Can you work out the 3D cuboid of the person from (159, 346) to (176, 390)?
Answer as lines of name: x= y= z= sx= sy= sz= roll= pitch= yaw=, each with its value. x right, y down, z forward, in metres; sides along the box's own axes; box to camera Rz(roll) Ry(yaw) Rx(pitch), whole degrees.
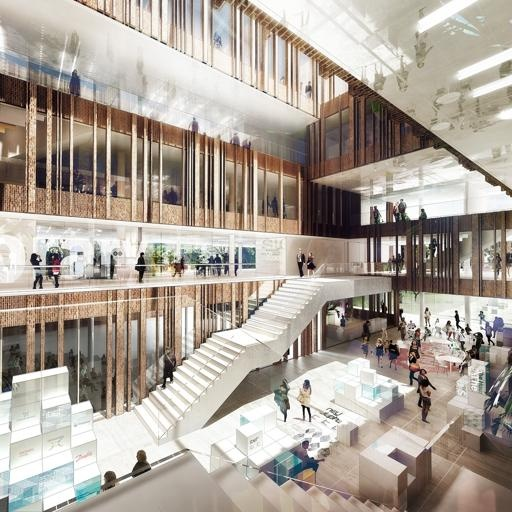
person: x=-2.406 y=3.010 z=12.180 sx=0.315 sy=1.084 sz=0.785 roll=-2 pitch=1 yaw=-5

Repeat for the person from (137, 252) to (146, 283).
person: x=-4.251 y=0.417 z=16.371 sx=0.340 sy=1.150 sz=0.789 roll=-2 pitch=0 yaw=-13

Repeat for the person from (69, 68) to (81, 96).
person: x=-5.983 y=-5.668 z=14.690 sx=0.371 sy=0.927 sz=0.216 roll=-2 pitch=0 yaw=-29

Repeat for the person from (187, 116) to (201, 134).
person: x=-2.504 y=-5.266 z=17.636 sx=0.487 sy=1.147 sz=0.301 roll=-6 pitch=11 yaw=-30

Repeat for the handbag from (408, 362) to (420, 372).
handbag: x=5.740 y=4.063 z=16.229 sx=0.629 sy=0.332 sz=0.303 roll=-4 pitch=1 yaw=-42

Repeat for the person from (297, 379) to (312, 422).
person: x=1.414 y=4.199 z=13.054 sx=0.336 sy=1.347 sz=0.391 roll=-2 pitch=18 yaw=5
